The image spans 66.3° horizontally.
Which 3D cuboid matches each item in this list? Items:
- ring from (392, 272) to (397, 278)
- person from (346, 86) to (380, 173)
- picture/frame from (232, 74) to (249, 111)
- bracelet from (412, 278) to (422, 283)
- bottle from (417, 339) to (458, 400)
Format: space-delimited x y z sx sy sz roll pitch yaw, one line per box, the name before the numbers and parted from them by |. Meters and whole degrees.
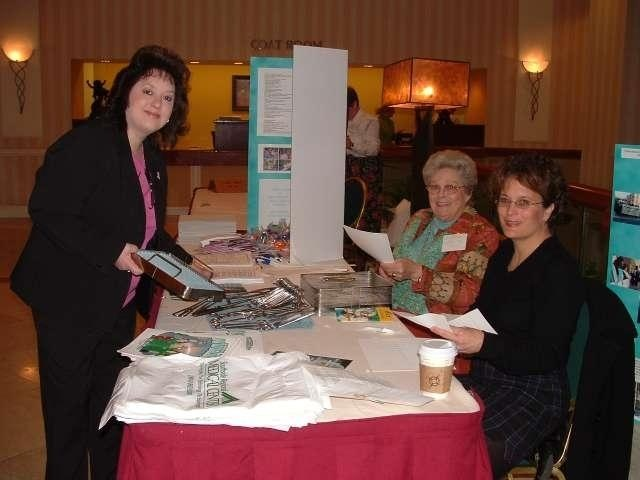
ring | 0.334 0.158 2.228 0.021 0.025 0.009 0 23 -1
person | 0.489 -1.229 5.652 0.362 0.936 0.408 1 9 3
picture/frame | -1.658 -3.017 10.126 0.334 0.744 0.161 -2 10 -11
bracelet | 0.454 0.191 2.309 0.043 0.016 0.014 -25 40 15
bottle | 0.290 0.368 1.418 0.162 0.143 0.144 1 3 -2
